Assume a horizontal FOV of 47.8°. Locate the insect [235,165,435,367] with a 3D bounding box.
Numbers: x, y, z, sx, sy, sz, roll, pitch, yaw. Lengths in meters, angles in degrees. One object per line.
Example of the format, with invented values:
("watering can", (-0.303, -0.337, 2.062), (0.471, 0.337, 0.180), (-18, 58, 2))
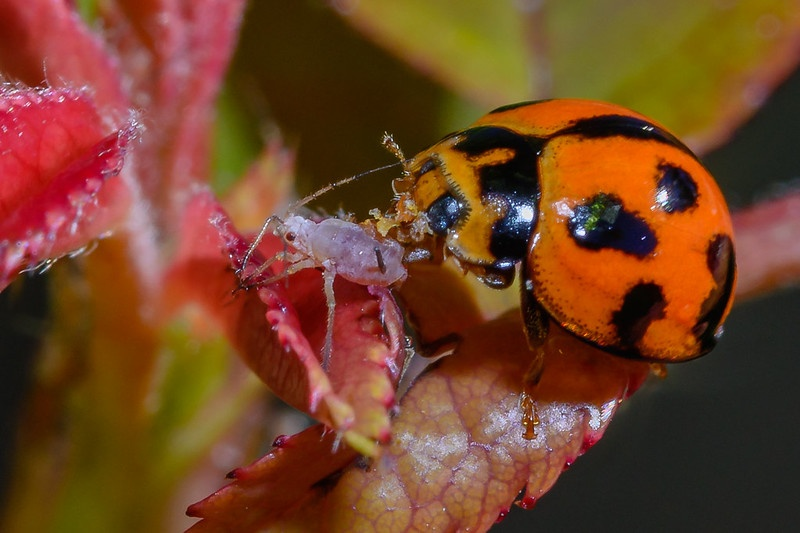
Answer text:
("insect", (-0.098, -0.011, 1.334), (0.199, 0.067, 0.210), (18, 40, 8))
